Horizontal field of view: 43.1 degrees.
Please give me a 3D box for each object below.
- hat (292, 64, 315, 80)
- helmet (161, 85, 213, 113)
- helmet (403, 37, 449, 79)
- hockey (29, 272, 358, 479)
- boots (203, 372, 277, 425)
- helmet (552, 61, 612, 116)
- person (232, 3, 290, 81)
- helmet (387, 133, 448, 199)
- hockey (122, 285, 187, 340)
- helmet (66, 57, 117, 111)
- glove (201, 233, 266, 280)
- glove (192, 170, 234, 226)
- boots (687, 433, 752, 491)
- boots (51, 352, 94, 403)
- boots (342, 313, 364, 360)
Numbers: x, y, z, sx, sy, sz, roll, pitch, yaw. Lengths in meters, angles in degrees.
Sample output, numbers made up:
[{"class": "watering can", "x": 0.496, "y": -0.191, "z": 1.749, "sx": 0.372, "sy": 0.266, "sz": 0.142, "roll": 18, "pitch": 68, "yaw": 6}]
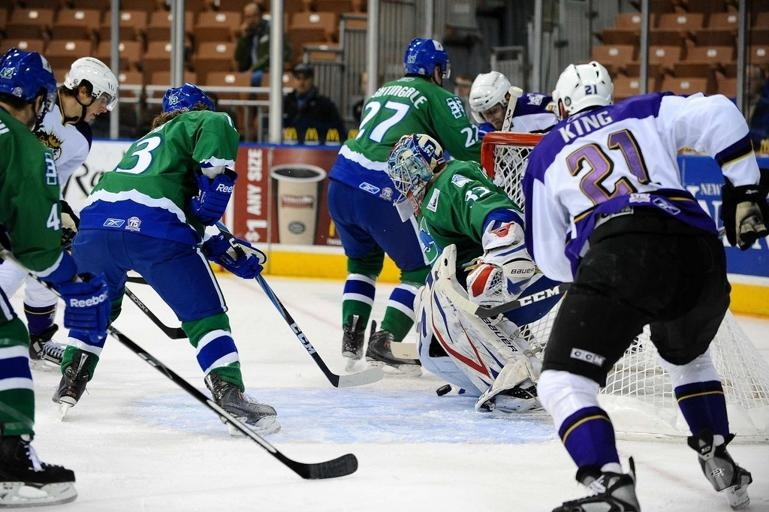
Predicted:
[{"class": "hat", "x": -0.770, "y": -1.740, "z": 9.233, "sx": 0.174, "sy": 0.139, "sz": 0.178, "roll": 3, "pitch": 13, "yaw": 7}, {"class": "helmet", "x": -0.962, "y": -0.747, "z": 4.750, "sx": 0.205, "sy": 0.198, "sz": 0.158, "roll": -6, "pitch": 3, "yaw": -16}, {"class": "helmet", "x": 0.261, "y": -1.206, "z": 5.858, "sx": 0.266, "sy": 0.243, "sz": 0.210, "roll": -16, "pitch": 27, "yaw": -26}, {"class": "hockey", "x": -0.943, "y": 0.604, "z": 4.679, "sx": 1.109, "sy": 0.147, "sz": 0.127, "roll": 38, "pitch": 37, "yaw": 10}, {"class": "boots", "x": -0.650, "y": 0.680, "z": 4.431, "sx": 0.136, "sy": 0.286, "sz": 0.416, "roll": -26, "pitch": -20, "yaw": 26}, {"class": "helmet", "x": 0.754, "y": -0.620, "z": 3.766, "sx": 0.193, "sy": 0.219, "sz": 0.239, "roll": 0, "pitch": 26, "yaw": 5}, {"class": "person", "x": -1.330, "y": -2.230, "z": 10.371, "sx": 0.381, "sy": 0.845, "sz": 1.081, "roll": -3, "pitch": 9, "yaw": -23}, {"class": "helmet", "x": 0.150, "y": -0.478, "z": 4.897, "sx": 0.321, "sy": 0.290, "sz": 0.241, "roll": -40, "pitch": 5, "yaw": 6}, {"class": "hockey", "x": -1.384, "y": 0.359, "z": 5.798, "sx": 0.082, "sy": 0.280, "sz": 0.280, "roll": -41, "pitch": -3, "yaw": -16}, {"class": "helmet", "x": -1.516, "y": -0.933, "z": 5.123, "sx": 0.257, "sy": 0.225, "sz": 0.240, "roll": 19, "pitch": 34, "yaw": -19}, {"class": "glove", "x": -0.728, "y": -0.003, "z": 4.765, "sx": 0.311, "sy": 0.124, "sz": 0.181, "roll": 27, "pitch": 20, "yaw": -47}, {"class": "glove", "x": -0.789, "y": -0.262, "z": 4.459, "sx": 0.154, "sy": 0.270, "sz": 0.239, "roll": -6, "pitch": 10, "yaw": -38}, {"class": "boots", "x": 1.282, "y": 0.783, "z": 3.682, "sx": 0.115, "sy": 0.214, "sz": 0.306, "roll": -28, "pitch": -27, "yaw": 29}, {"class": "boots", "x": -1.471, "y": 0.602, "z": 4.588, "sx": 0.115, "sy": 0.229, "sz": 0.316, "roll": 21, "pitch": -31, "yaw": -11}, {"class": "boots", "x": -0.188, "y": 0.494, "z": 5.657, "sx": 0.157, "sy": 0.200, "sz": 0.477, "roll": 8, "pitch": 12, "yaw": -2}]
